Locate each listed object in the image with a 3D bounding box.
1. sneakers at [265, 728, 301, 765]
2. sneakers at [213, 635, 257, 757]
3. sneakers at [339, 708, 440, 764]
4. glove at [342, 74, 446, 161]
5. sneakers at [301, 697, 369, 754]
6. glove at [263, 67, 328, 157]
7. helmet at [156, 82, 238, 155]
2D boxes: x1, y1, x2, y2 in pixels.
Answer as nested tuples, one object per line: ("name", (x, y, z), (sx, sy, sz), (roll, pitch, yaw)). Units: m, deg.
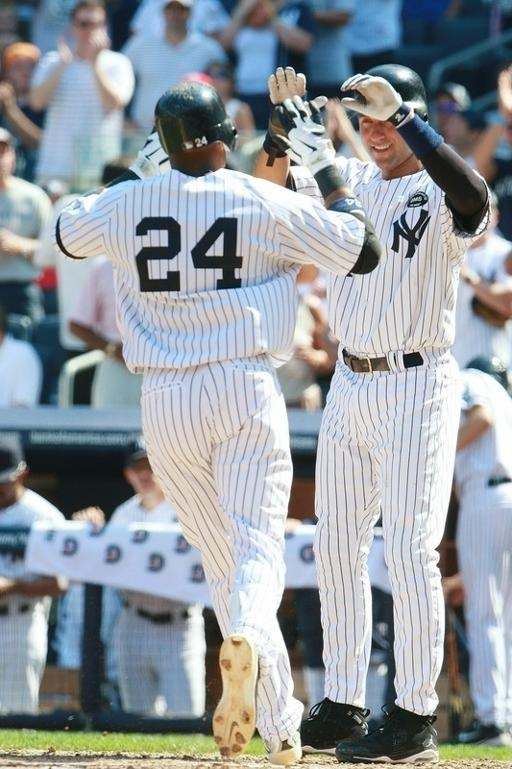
("sneakers", (0.088, 1.121, 4.135), (0.078, 0.151, 0.099), (-12, 60, -9))
("sneakers", (-0.058, 0.871, 3.738), (0.128, 0.135, 0.318), (1, 73, 16))
("sneakers", (0.438, 1.163, 4.452), (0.404, 0.142, 0.229), (2, 79, 6))
("glove", (0.415, -0.842, 4.159), (0.333, 0.235, 0.132), (15, 41, 24))
("sneakers", (0.211, 1.141, 4.515), (0.326, 0.105, 0.208), (3, 93, -12))
("glove", (0.145, -0.848, 4.206), (0.179, 0.095, 0.344), (0, 49, -12))
("helmet", (-0.190, -0.815, 4.185), (0.192, 0.199, 0.242), (-12, 46, 8))
